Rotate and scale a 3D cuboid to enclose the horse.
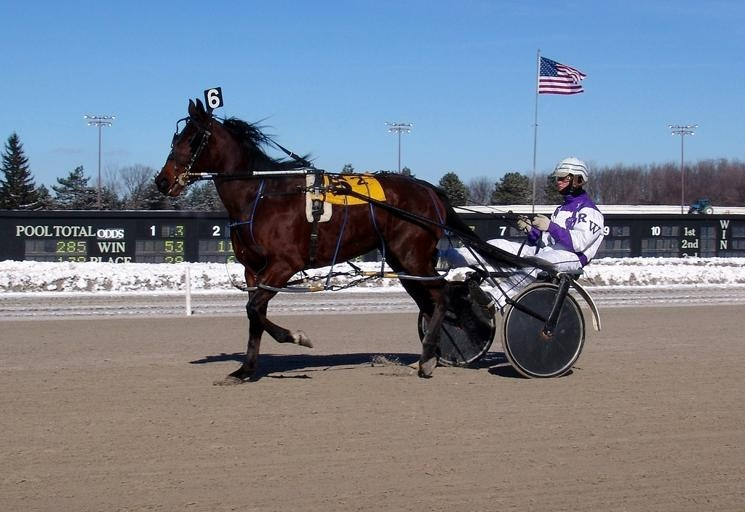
[{"bbox_3d":[0.081,-0.001,12.868,5.211,2.821,0.965,5,-5,-6],"label":"horse"}]

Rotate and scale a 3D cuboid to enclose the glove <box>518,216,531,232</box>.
[{"bbox_3d":[1.787,-0.364,12.890,0.130,0.183,0.077,19,31,37],"label":"glove"}]

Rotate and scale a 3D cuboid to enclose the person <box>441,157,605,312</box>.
[{"bbox_3d":[1.843,-0.278,13.119,1.563,2.276,0.904,0,0,-30],"label":"person"}]

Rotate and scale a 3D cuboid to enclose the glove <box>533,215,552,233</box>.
[{"bbox_3d":[1.977,-0.361,12.724,0.196,0.130,0.113,20,-5,-25],"label":"glove"}]
